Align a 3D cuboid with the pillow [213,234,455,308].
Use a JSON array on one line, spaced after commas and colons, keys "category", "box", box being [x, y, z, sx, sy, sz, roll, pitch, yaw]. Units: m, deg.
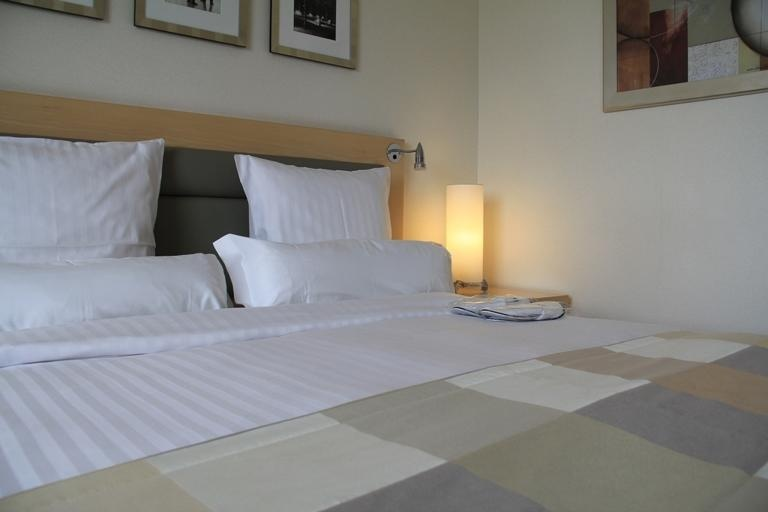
[{"category": "pillow", "box": [-0.131, 0.096, 2.178, 1.127, 0.359, 0.234, -1, -21, -34]}]
